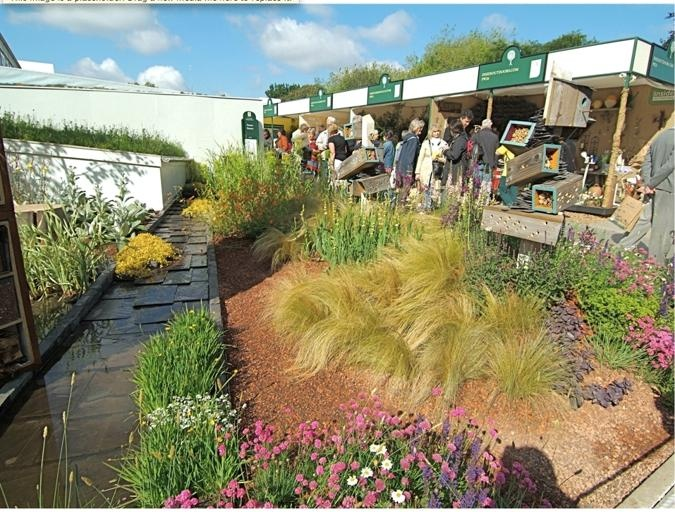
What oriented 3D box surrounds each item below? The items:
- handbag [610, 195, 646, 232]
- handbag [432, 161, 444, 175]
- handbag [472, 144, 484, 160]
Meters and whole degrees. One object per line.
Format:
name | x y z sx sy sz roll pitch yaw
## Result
handbag | 4.137 -0.537 5.450 0.114 0.465 0.442 21 35 -12
handbag | 2.394 -2.081 9.186 0.257 0.344 0.309 -11 15 -23
handbag | 2.698 -2.008 7.388 0.353 0.402 0.088 -9 17 -34
